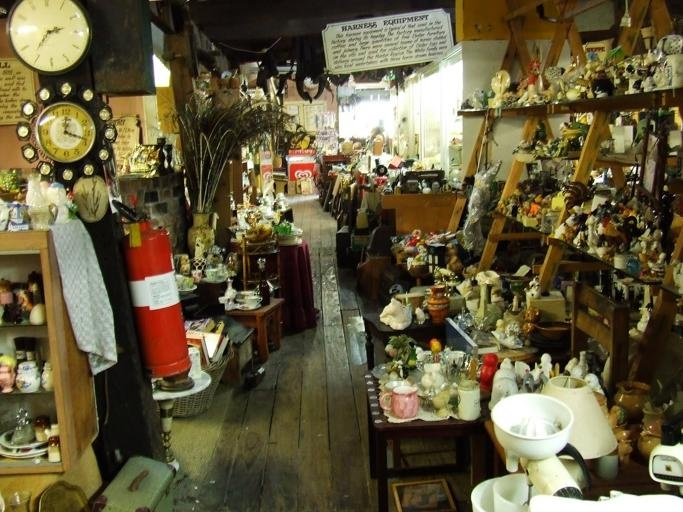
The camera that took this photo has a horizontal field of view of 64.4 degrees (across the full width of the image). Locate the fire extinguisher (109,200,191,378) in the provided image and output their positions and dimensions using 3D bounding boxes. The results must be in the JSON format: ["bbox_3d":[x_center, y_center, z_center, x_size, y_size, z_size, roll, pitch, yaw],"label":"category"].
[{"bbox_3d":[-0.973,0.253,2.869,0.259,0.900,0.138,-8,13,-24],"label":"fire extinguisher"}]

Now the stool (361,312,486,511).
[{"bbox_3d":[0.410,0.927,3.005,0.642,0.907,1.183,-1,10,1],"label":"stool"}]

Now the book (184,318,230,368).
[{"bbox_3d":[-0.929,0.589,3.785,0.267,0.103,0.290,2,25,-6],"label":"book"}]

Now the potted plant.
[{"bbox_3d":[-1.146,-0.867,5.540,0.953,1.568,0.520,-6,13,-18],"label":"potted plant"}]

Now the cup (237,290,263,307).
[{"bbox_3d":[-0.820,0.387,4.832,0.132,0.096,0.194,1,-1,4],"label":"cup"}]

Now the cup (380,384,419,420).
[{"bbox_3d":[0.285,0.725,2.651,0.159,0.123,0.106,-3,-2,-2],"label":"cup"}]

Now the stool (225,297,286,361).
[{"bbox_3d":[-0.775,0.632,4.994,0.457,0.506,0.492,-1,7,5],"label":"stool"}]

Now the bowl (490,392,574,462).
[{"bbox_3d":[0.539,0.495,1.520,0.194,0.103,0.207,-10,14,3],"label":"bowl"}]

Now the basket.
[{"bbox_3d":[-1.022,0.949,3.942,0.456,0.357,0.492,-4,4,8],"label":"basket"}]
